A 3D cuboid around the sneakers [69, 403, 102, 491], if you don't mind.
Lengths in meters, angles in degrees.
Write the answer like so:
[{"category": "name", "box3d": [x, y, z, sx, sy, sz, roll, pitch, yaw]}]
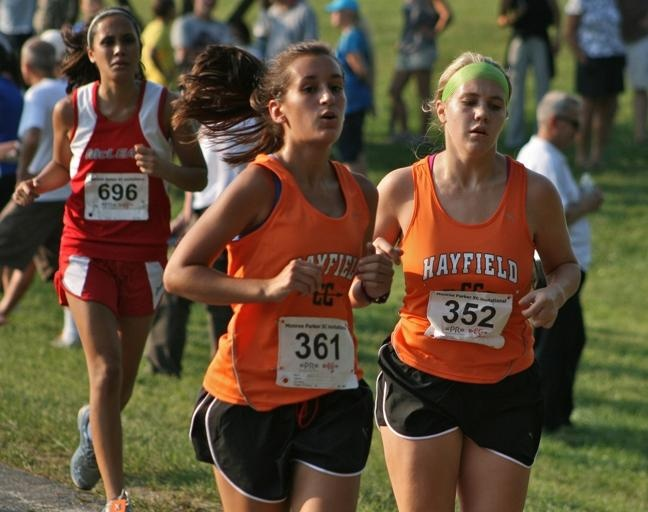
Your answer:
[{"category": "sneakers", "box3d": [-1.346, 1.086, 5.900, 0.155, 0.555, 0.216, 4, -7, -9]}]
